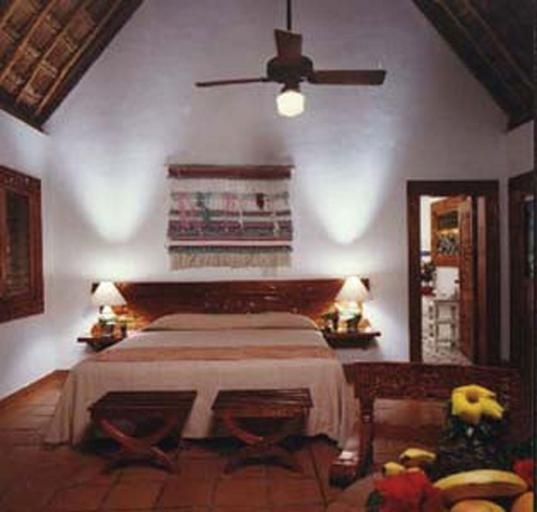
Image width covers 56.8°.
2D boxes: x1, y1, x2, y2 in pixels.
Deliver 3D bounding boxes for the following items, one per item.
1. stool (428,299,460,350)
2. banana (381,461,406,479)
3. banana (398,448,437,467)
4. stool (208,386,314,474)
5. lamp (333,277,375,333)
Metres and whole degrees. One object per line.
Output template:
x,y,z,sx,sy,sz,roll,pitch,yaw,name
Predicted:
1.302,0.503,3.697,0.212,0.353,0.528,0,-1,18,stool
0.425,0.706,1.670,0.067,0.062,0.069,-15,-18,35,banana
0.518,0.691,1.719,0.085,0.040,0.064,-9,-9,-7,banana
-0.011,0.766,2.186,0.460,0.322,0.417,1,-1,-6,stool
0.444,0.296,2.934,0.281,0.432,0.283,0,-6,-3,lamp
